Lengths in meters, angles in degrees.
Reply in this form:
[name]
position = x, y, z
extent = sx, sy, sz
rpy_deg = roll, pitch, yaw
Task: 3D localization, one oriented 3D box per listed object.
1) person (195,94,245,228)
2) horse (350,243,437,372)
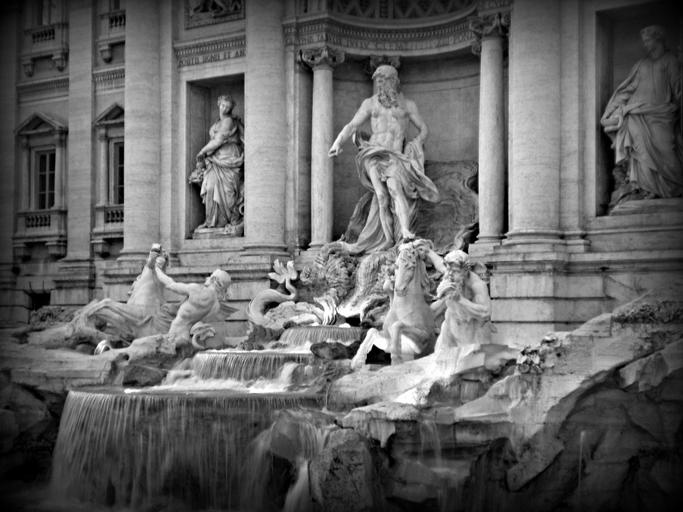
[person]
position = -3.023, -2.320, 22.317
extent = 1.194, 3.351, 0.563
rpy_deg = -1, -3, 5
[horse]
position = 1.084, 0.798, 15.605
extent = 1.400, 2.157, 0.930
rpy_deg = -1, -3, 3
